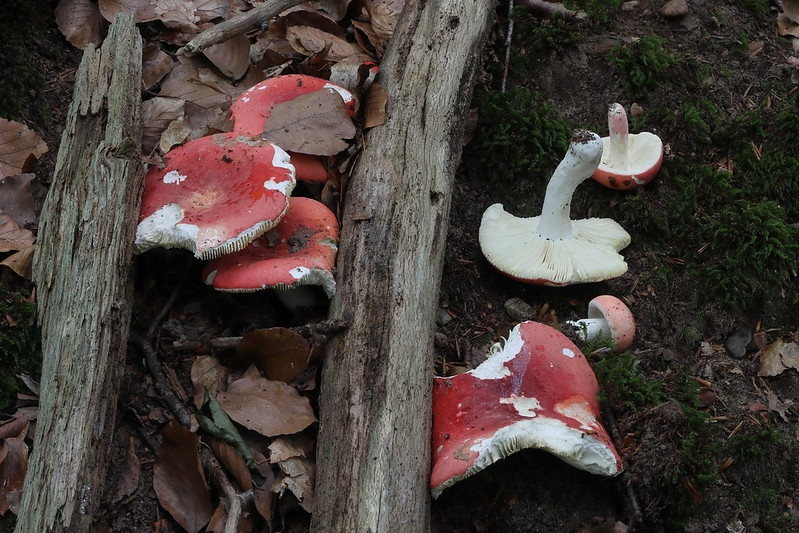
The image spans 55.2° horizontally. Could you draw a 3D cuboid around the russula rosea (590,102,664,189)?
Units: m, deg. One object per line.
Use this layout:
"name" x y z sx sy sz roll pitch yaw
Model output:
"russula rosea" 2.119 -1.068 7.014 0.470 0.495 0.491 -21 43 6
